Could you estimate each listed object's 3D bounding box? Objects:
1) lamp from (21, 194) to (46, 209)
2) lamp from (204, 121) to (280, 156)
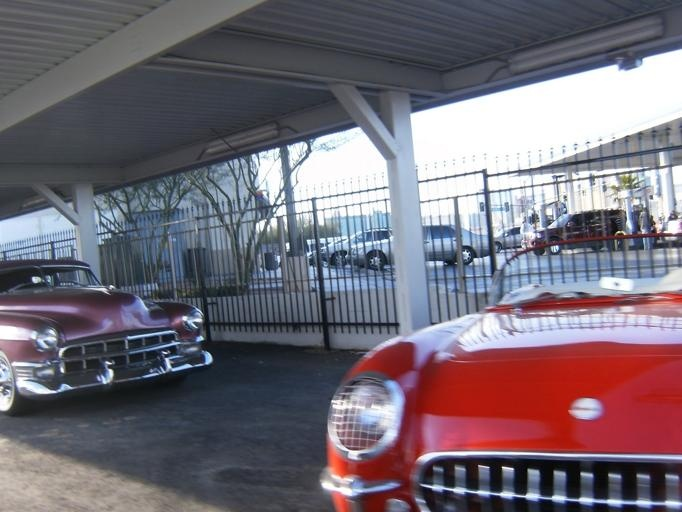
[{"bbox_3d":[-8.314,-1.495,14.300,0.309,0.339,1.296,-5,1,-42],"label":"lamp"},{"bbox_3d":[-1.744,-2.097,9.498,1.794,0.437,0.321,-12,0,30],"label":"lamp"}]
